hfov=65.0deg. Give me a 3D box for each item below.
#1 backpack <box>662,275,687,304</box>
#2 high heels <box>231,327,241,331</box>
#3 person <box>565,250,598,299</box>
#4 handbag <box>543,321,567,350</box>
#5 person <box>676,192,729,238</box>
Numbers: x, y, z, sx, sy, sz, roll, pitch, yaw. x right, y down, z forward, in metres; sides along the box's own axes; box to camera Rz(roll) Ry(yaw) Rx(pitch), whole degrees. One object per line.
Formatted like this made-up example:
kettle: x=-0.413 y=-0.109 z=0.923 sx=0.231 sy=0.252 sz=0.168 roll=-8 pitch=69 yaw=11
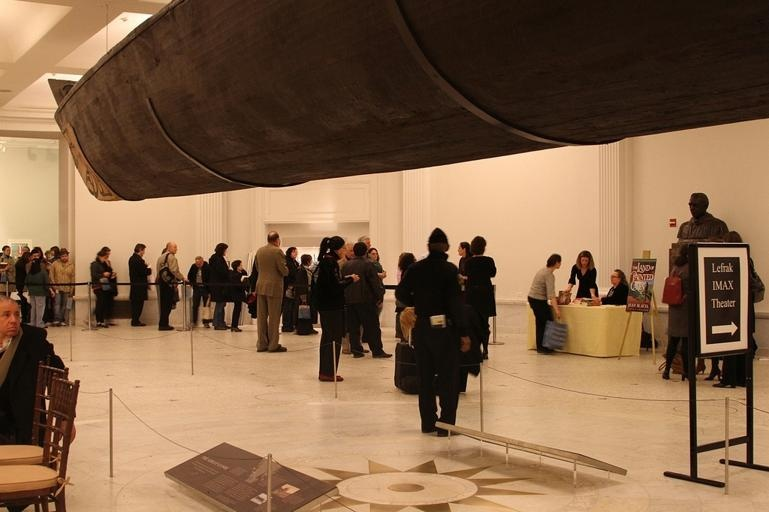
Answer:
backpack: x=3.412 y=0.392 z=7.109 sx=0.243 sy=0.357 sz=0.208 roll=2 pitch=-10 yaw=24
high heels: x=-3.000 y=1.460 z=12.083 sx=0.206 sy=0.091 sz=0.072 roll=-1 pitch=1 yaw=-18
person: x=3.276 y=0.311 z=9.921 sx=0.439 sy=0.870 sz=0.816 roll=3 pitch=-10 yaw=19
handbag: x=2.633 y=1.226 z=9.302 sx=0.370 sy=0.467 sz=0.271 roll=9 pitch=10 yaw=37
person: x=4.316 y=-0.479 z=8.154 sx=0.601 sy=0.689 sz=0.976 roll=1 pitch=-10 yaw=27
